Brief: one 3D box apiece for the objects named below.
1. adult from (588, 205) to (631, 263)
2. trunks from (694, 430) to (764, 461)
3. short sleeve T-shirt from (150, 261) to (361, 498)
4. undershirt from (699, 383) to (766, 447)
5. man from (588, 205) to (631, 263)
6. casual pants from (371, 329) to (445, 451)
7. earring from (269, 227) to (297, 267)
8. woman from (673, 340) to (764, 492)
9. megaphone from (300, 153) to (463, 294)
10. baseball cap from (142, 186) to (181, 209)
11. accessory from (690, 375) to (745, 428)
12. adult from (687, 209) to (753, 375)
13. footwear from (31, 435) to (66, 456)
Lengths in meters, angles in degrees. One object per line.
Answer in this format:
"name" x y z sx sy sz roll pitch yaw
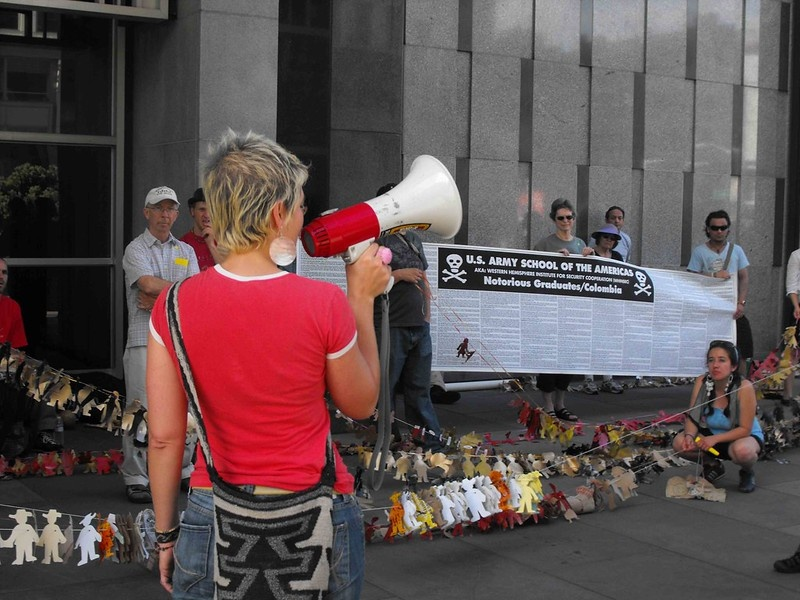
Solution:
"adult" 2.468 -0.725 10.762 0.436 0.717 0.234 1 7 -2
"trunks" 2.450 1.113 6.947 0.475 0.280 0.319 4 7 18
"short sleeve T-shirt" -0.546 0.301 3.314 0.810 0.757 0.428 -1 -4 -19
"undershirt" 2.425 0.892 6.996 0.562 0.555 0.414 -4 6 22
"man" 2.481 -0.729 10.776 0.435 0.720 0.242 -2 10 -5
"casual pants" 0.056 0.677 7.702 0.534 1.137 0.320 2 19 -2
"earring" -0.413 -0.189 3.193 0.143 0.157 0.021 -1 3 -11
"woman" 2.443 0.904 7.065 0.765 1.075 0.669 -4 3 -40
"megaphone" -0.081 -0.299 3.667 0.646 0.435 0.359 -22 7 -29
"baseball cap" -1.710 -0.735 6.555 0.190 0.108 0.261 -1 2 -21
"accessory" 2.427 0.796 7.049 0.389 0.439 0.241 2 -9 22
"adult" 3.489 0.059 10.049 0.757 1.978 0.641 1 10 27
"footwear" -2.766 1.131 7.276 0.231 0.115 0.192 -3 7 -33
